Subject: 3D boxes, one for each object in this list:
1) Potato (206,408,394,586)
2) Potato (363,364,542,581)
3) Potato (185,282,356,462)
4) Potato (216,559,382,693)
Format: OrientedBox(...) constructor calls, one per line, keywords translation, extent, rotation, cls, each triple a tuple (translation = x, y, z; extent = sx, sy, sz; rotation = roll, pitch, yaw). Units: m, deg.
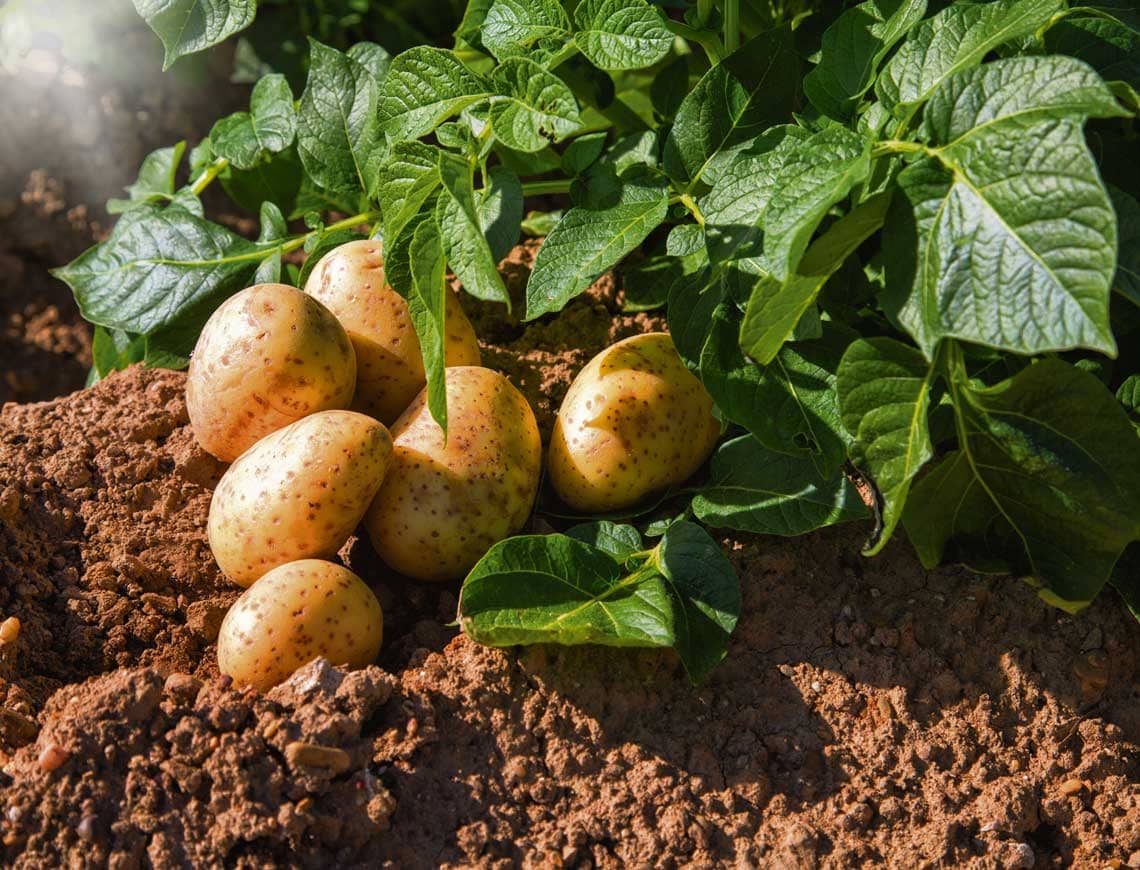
OrientedBox(translation=(-0.471, 0.097, 2.357), extent=(0.348, 0.222, 0.210), rotation=(-42, 32, 8), cls="Potato")
OrientedBox(translation=(-0.208, 0.115, 2.458), extent=(0.268, 0.213, 0.391), rotation=(32, 69, 4), cls="Potato")
OrientedBox(translation=(-0.578, -0.155, 2.499), extent=(0.267, 0.362, 0.306), rotation=(0, 58, -21), cls="Potato")
OrientedBox(translation=(-0.467, 0.315, 2.267), extent=(0.243, 0.212, 0.188), rotation=(-29, 22, -9), cls="Potato")
